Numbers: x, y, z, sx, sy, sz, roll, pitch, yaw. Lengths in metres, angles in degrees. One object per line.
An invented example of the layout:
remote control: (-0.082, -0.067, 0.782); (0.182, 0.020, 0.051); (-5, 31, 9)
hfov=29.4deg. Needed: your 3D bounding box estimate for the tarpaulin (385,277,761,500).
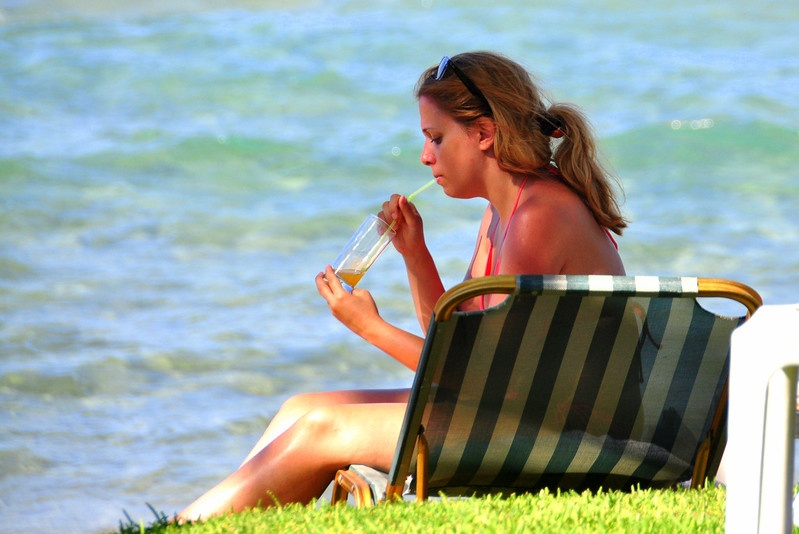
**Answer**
tarpaulin: (1.771, 1.118, 14.878); (3.271, 2.398, 0.636); (7, 30, -7)
